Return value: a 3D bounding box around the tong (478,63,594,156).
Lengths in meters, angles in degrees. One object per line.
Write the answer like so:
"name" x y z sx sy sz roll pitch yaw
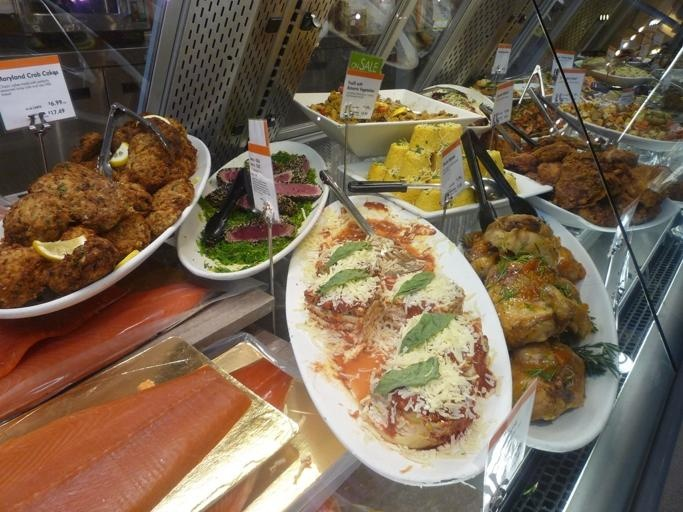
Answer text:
"tong" 0.769 -0.616 1.891 0.130 0.251 0.453 24 31 -50

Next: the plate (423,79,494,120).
"plate" 0.631 -0.882 2.481 0.351 0.070 0.307 39 40 27

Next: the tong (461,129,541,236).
"tong" 0.571 -0.277 1.695 0.161 0.064 0.456 -16 79 -2

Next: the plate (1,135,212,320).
"plate" -0.591 -0.022 1.326 0.441 0.103 0.616 29 54 27

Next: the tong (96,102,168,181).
"tong" -0.626 -0.372 1.341 0.252 0.234 0.063 7 0 -4

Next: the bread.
"bread" 0.312 -0.382 1.867 0.415 0.147 0.452 4 43 4

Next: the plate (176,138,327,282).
"plate" -0.312 -0.128 1.677 0.415 0.082 0.608 21 54 19

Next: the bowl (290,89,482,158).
"bowl" 0.166 -0.589 2.033 0.386 0.122 0.433 -11 35 -23

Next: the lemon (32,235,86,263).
"lemon" -0.731 -0.020 1.166 0.099 0.033 0.063 -28 53 -24
